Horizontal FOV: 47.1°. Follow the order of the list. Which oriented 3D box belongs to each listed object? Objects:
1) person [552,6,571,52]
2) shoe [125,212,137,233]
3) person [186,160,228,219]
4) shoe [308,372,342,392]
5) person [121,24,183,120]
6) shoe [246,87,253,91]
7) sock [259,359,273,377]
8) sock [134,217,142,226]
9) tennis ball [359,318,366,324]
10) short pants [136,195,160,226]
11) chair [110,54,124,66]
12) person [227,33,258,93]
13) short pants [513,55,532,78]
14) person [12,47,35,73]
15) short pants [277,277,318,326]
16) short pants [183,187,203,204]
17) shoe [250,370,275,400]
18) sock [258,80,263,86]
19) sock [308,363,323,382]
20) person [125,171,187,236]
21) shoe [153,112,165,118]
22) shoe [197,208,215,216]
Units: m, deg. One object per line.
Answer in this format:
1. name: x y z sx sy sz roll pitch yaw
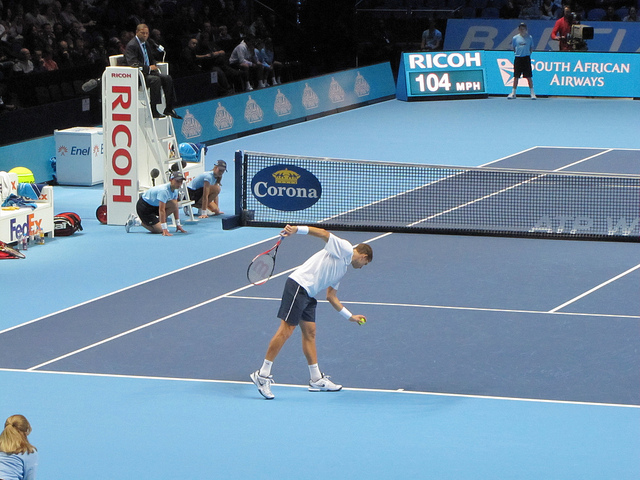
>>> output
1. person: 9.621 -8.352 29.125 1.130 1.668 0.757 -13 15 -43
2. shoe: -3.595 -0.323 14.004 0.239 0.334 0.376 -6 11 -16
3. person: -2.282 -1.084 14.780 0.712 1.302 0.594 21 25 15
4. shoe: 0.051 1.573 8.066 0.412 0.239 0.145 2 -2 2
5. person: -3.330 -3.285 14.493 0.628 1.797 1.011 4 13 32
6. shoe: -2.354 -5.128 24.909 0.197 0.073 0.283 4 13 15
7. sock: -0.570 1.353 7.769 0.139 0.198 0.109 -2 11 4
8. sock: -3.424 -0.358 13.860 0.141 0.152 0.046 -7 -1 -23
9. tennis ball: 0.464 0.889 7.998 0.062 0.070 0.063 -1 9 0
10. short pants: -3.211 -0.526 13.739 0.402 0.529 0.305 -6 12 -15
11. chair: -3.975 -3.529 14.429 0.273 0.221 0.415 -6 11 -14
12. person: -2.578 -6.072 25.190 0.776 1.807 0.948 3 12 26
13. short pants: 7.579 -6.495 27.457 0.608 0.783 0.957 -1 11 12
14. person: -7.879 -4.762 19.496 0.393 0.802 0.840 1 14 15
15. short pants: -0.200 0.636 7.837 0.291 0.497 0.510 17 5 37
16. short pants: -2.487 -0.900 14.750 0.230 0.246 0.299 -1 21 1
17. shoe: -0.605 1.545 7.828 0.234 0.313 0.183 -8 12 -24
18. sock: -2.097 -5.530 25.689 0.194 0.154 0.164 1 12 19
19. sock: -0.042 1.433 7.981 0.136 0.210 0.133 -3 11 -2
20. person: -3.078 -0.657 13.707 1.181 1.254 0.779 1 17 1
21. shoe: -3.236 -2.511 14.784 0.127 0.096 0.347 4 13 32
22. shoe: -2.300 -0.555 14.979 0.227 0.106 0.170 2 8 -26
